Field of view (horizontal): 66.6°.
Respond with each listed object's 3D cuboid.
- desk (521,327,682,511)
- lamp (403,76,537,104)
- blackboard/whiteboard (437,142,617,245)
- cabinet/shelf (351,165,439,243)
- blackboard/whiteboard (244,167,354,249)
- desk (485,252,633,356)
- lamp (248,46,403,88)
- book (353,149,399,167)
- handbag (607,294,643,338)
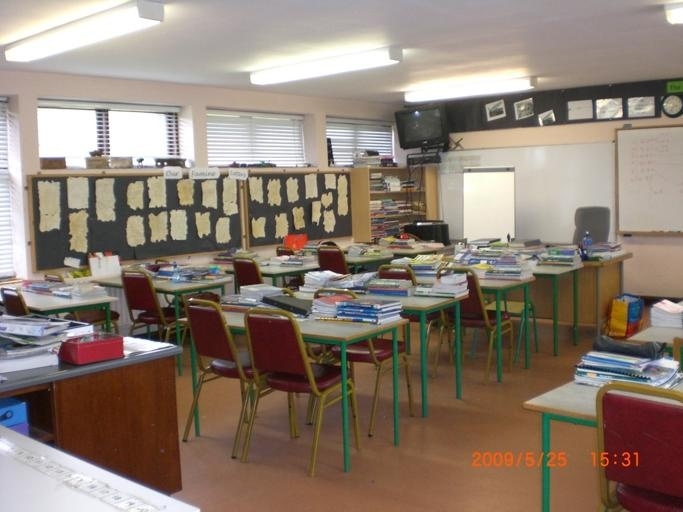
[{"bbox_3d":[1.093,0.726,2.410,0.755,0.639,0.674,0,1,42],"label":"desk"},{"bbox_3d":[1.765,-2.343,7.282,1.752,0.176,0.466,3,9,35],"label":"lamp"},{"bbox_3d":[3.033,-1.010,8.243,2.062,1.264,0.090,1,5,29],"label":"blackboard/whiteboard"},{"bbox_3d":[0.855,-0.879,8.786,0.500,1.003,1.541,1,4,42],"label":"cabinet/shelf"},{"bbox_3d":[-0.701,-0.725,7.706,1.479,0.791,0.032,-5,6,-45],"label":"blackboard/whiteboard"},{"bbox_3d":[2.508,0.380,5.848,1.387,0.776,1.385,4,12,39],"label":"desk"},{"bbox_3d":[-0.206,-2.033,5.591,1.771,0.145,0.368,3,9,36],"label":"lamp"},{"bbox_3d":[0.527,-1.604,8.711,0.505,0.167,0.499,-3,5,-31],"label":"book"},{"bbox_3d":[3.006,0.648,5.540,0.352,0.469,0.442,4,6,27],"label":"handbag"}]
